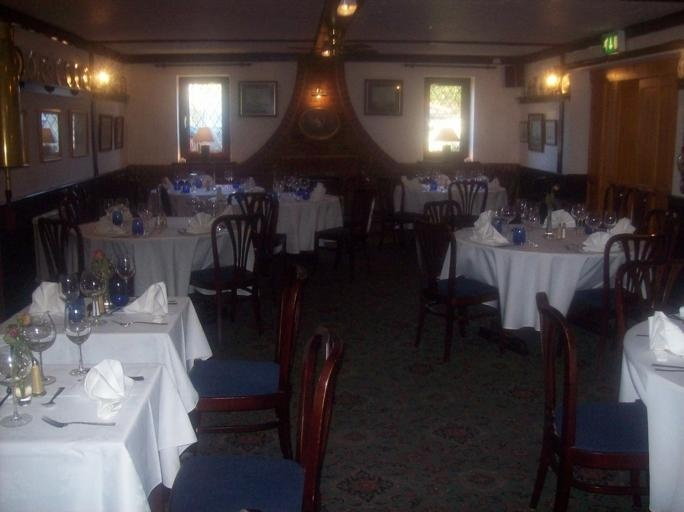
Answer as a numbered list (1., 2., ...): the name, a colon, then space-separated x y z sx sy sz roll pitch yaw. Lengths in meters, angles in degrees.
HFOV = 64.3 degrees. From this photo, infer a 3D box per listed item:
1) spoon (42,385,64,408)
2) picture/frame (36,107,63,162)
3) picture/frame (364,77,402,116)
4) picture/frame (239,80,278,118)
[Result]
1. spoon: -1.119 0.547 2.105 0.034 0.023 0.142 -2 6 -4
2. picture/frame: -3.652 -1.508 6.829 0.632 0.662 0.053 7 8 37
3. picture/frame: 0.777 -2.879 9.985 0.687 0.721 0.082 0 39 4
4. picture/frame: -1.496 -2.809 9.742 0.690 0.708 0.074 -6 46 -14
